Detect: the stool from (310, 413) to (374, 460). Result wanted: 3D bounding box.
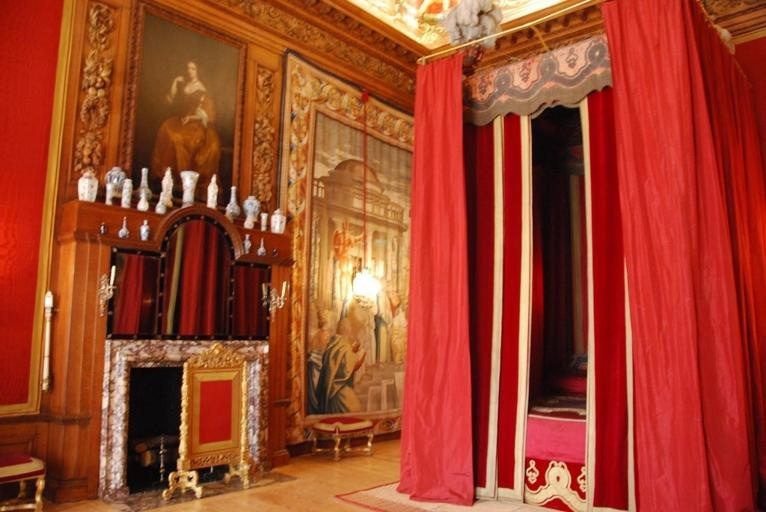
[{"bbox_3d":[-0.456,2.234,8.185,0.870,0.498,0.695,0,-7,-31],"label":"stool"}]
